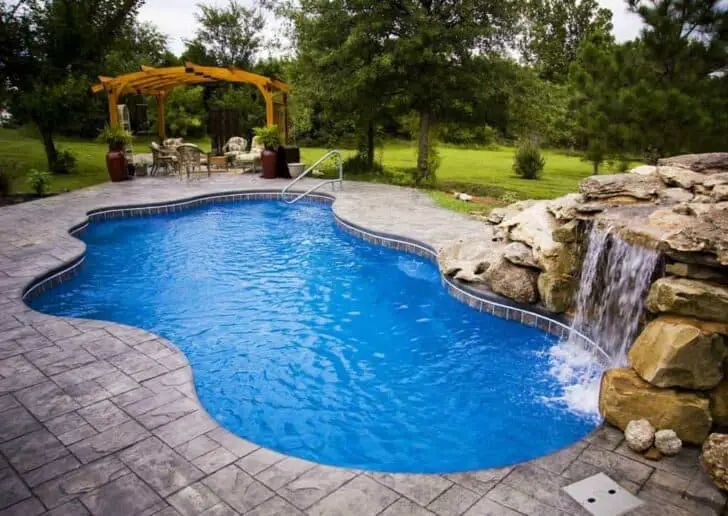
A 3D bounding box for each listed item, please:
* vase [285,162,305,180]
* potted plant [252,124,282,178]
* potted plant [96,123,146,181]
[{"bbox_3d":[-2.494,-3.300,17.310,0.677,0.542,0.350,-10,21,-36],"label":"vase"},{"bbox_3d":[-3.671,-4.133,17.697,0.954,1.940,1.757,-2,17,-13],"label":"potted plant"},{"bbox_3d":[-8.767,-3.772,16.493,0.987,1.931,1.404,-6,18,-24],"label":"potted plant"}]
